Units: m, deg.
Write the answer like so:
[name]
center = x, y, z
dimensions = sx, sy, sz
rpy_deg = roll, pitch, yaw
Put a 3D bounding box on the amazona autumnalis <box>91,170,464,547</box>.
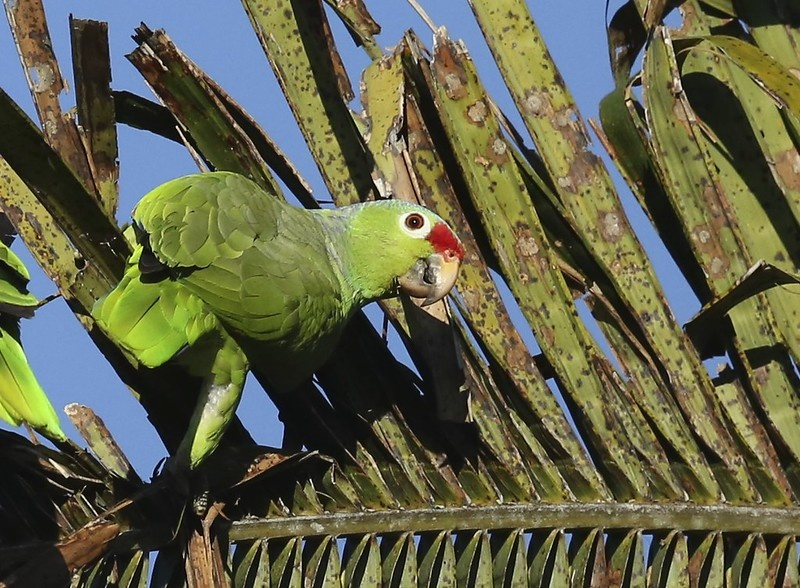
[amazona autumnalis]
center = -0.557, 0.012, 6.799
dimensions = 1.248, 1.128, 0.701
rpy_deg = 22, 14, -29
